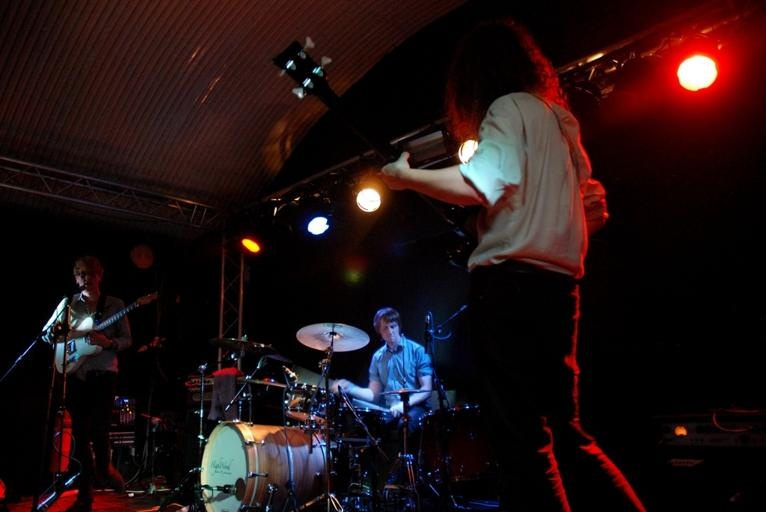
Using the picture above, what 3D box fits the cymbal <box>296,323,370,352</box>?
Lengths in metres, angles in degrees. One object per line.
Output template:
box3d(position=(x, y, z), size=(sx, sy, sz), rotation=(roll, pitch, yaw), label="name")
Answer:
box3d(position=(-0.609, 0.994, 7.724), size=(0.840, 0.306, 0.533), rotation=(0, -21, -9), label="cymbal")

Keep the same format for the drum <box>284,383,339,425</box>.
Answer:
box3d(position=(-0.862, 1.687, 7.379), size=(0.551, 0.438, 0.611), rotation=(2, -22, -14), label="drum")

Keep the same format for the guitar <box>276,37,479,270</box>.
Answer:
box3d(position=(-0.108, -1.352, 7.888), size=(1.333, 1.064, 2.945), rotation=(-16, -55, 45), label="guitar")

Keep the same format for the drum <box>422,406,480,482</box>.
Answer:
box3d(position=(0.824, 2.142, 7.475), size=(0.770, 0.762, 0.748), rotation=(-3, -13, -12), label="drum")

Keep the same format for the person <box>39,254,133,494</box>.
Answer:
box3d(position=(-3.410, 1.336, 7.470), size=(0.854, 2.912, 1.586), rotation=(4, -23, -19), label="person")
